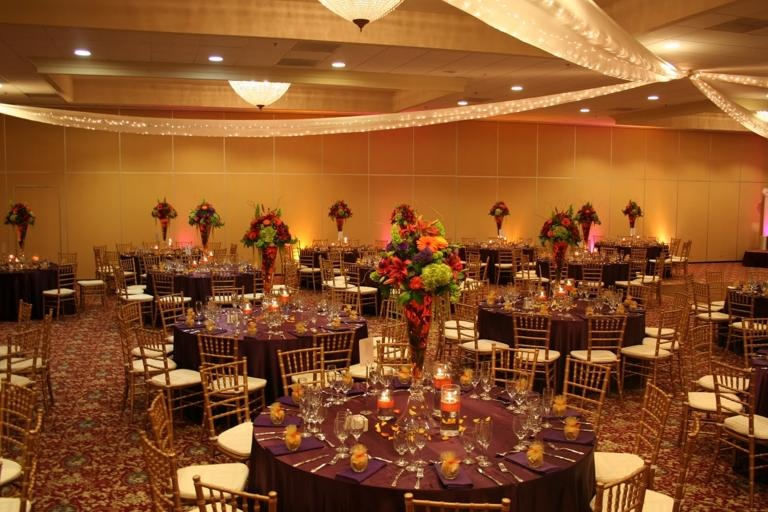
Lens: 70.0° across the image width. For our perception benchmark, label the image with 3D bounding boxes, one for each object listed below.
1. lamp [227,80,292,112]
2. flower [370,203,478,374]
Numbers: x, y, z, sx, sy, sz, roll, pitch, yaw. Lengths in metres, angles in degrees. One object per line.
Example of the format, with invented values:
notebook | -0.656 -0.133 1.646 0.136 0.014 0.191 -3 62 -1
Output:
lamp | -2.613 -3.397 11.366 0.777 0.417 0.807 2 6 32
flower | 0.311 0.345 4.984 0.811 1.412 0.426 0 5 9
